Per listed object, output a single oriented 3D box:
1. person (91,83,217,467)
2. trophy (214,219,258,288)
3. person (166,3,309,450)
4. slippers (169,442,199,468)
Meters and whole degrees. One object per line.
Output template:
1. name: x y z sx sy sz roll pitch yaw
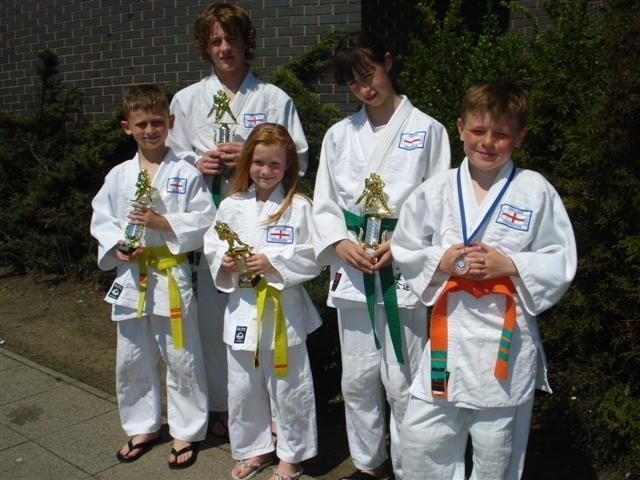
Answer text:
1. person: -1.139 0.404 4.868 0.916 2.963 0.693 0 8 2
2. trophy: -0.541 0.092 4.360 0.184 0.461 0.167 -15 5 -6
3. person: -0.815 -0.103 5.092 1.104 3.185 1.186 3 20 -16
4. slippers: -0.933 1.495 4.570 0.241 0.110 0.181 -7 16 -25
